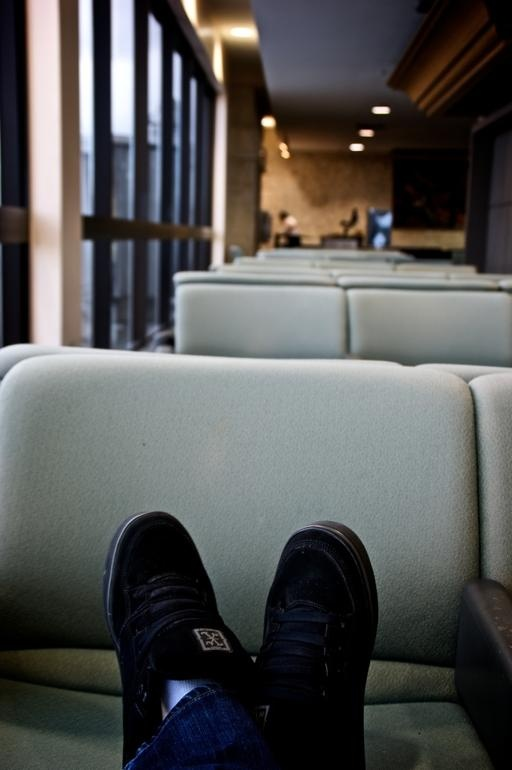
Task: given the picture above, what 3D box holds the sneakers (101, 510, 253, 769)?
[{"bbox_3d":[-0.056,0.166,0.420,0.065,0.085,0.220,10,45,-17],"label":"sneakers"}]
